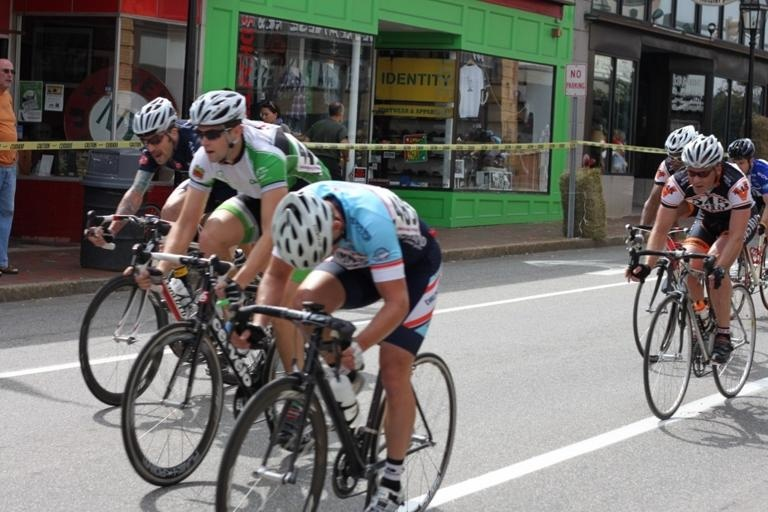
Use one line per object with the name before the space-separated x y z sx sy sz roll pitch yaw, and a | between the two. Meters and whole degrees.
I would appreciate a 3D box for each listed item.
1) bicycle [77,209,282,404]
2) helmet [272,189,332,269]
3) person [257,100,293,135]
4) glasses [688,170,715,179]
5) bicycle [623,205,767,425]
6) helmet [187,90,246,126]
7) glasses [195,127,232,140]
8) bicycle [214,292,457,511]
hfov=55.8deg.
bicycle | -1.939 0.441 6.858 0.830 1.581 2.429 4 1 24
helmet | -0.430 -0.151 4.086 0.286 0.439 0.396 7 40 17
person | -1.886 -2.365 12.568 0.417 0.631 0.886 -11 17 -24
glasses | 3.073 -0.801 7.071 0.210 0.072 0.091 6 10 24
bicycle | 3.004 0.648 7.206 1.186 1.527 2.182 6 10 28
helmet | -1.267 -1.153 5.590 0.345 0.261 0.487 15 23 35
glasses | -1.309 -0.930 5.509 0.264 0.094 0.083 3 9 10
bicycle | -0.245 1.017 4.448 0.523 1.565 1.720 9 12 44
